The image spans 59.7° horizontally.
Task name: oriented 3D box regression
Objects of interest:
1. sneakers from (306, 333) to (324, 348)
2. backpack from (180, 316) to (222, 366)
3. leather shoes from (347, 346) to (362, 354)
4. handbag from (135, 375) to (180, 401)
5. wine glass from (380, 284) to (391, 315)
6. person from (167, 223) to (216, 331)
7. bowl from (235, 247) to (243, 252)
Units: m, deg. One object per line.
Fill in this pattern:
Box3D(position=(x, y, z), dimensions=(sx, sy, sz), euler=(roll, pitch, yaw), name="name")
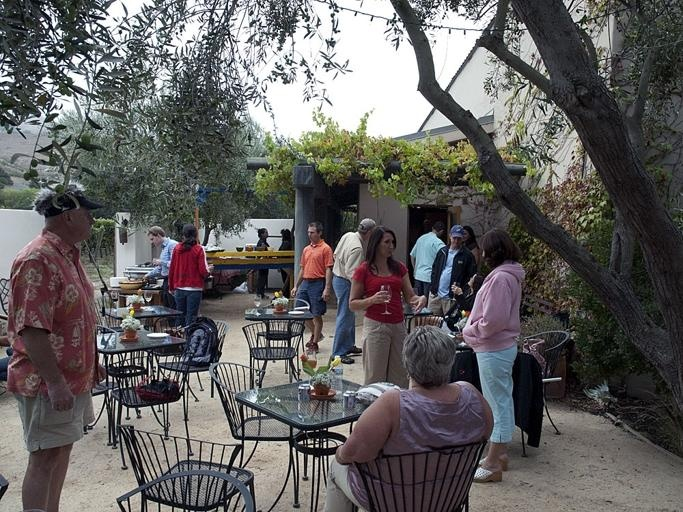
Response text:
Box3D(position=(-0.388, 1.287, 8.871), dimensions=(0.136, 0.201, 0.386), euler=(0, -3, 24), name="sneakers")
Box3D(position=(-1.436, 0.907, 6.124), dimensions=(0.312, 0.514, 0.259), euler=(-1, -11, 29), name="backpack")
Box3D(position=(0.192, 1.373, 8.502), dimensions=(0.232, 0.122, 0.089), euler=(-2, 6, -24), name="leather shoes")
Box3D(position=(-1.604, 1.204, 5.217), dimensions=(0.279, 0.124, 0.229), euler=(6, 1, 2), name="handbag")
Box3D(position=(0.390, 0.392, 5.245), dimensions=(0.089, 0.265, 0.199), euler=(0, -1, 4), name="wine glass")
Box3D(position=(-2.237, 0.415, 8.748), dimensions=(0.536, 1.814, 0.536), euler=(2, 12, -11), name="person")
Box3D(position=(-2.894, -0.189, 16.883), dimensions=(0.191, 0.129, 0.213), euler=(-3, -1, 0), name="bowl")
